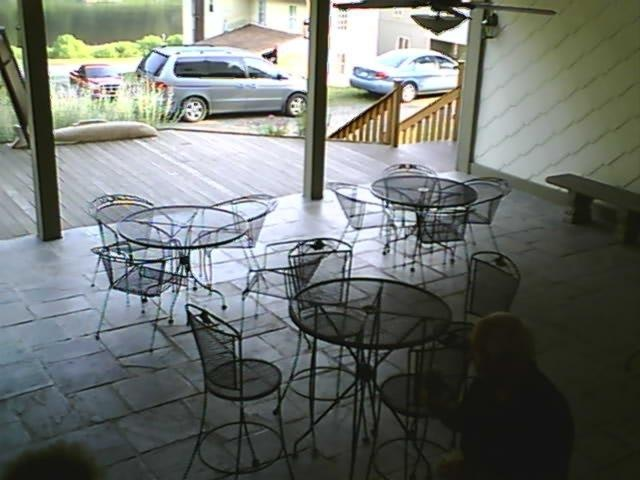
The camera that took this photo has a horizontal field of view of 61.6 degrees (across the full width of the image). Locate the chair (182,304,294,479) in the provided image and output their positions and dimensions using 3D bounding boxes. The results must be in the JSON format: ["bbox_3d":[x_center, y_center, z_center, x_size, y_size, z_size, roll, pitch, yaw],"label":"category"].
[{"bbox_3d":[-0.587,0.954,3.593,0.722,1.096,0.842,-3,28,-10],"label":"chair"}]

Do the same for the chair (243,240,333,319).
[{"bbox_3d":[-0.314,0.391,5.069,0.523,0.617,0.490,15,45,6],"label":"chair"}]

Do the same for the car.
[{"bbox_3d":[2.813,-4.505,14.958,3.748,0.919,1.574,-13,27,-22],"label":"car"}]

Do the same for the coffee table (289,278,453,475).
[{"bbox_3d":[0.365,1.005,3.832,0.993,0.901,0.881,-18,40,-30],"label":"coffee table"}]

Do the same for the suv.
[{"bbox_3d":[-2.260,-3.674,12.688,4.293,1.315,1.839,-6,26,-19],"label":"suv"}]

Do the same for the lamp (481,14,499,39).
[{"bbox_3d":[2.777,-3.429,8.630,0.290,0.385,0.132,6,29,6],"label":"lamp"}]

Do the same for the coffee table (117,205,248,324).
[{"bbox_3d":[-1.541,0.274,5.673,1.368,0.860,1.301,23,33,27],"label":"coffee table"}]

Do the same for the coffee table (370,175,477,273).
[{"bbox_3d":[1.067,-0.208,6.554,1.363,0.833,1.169,11,34,12],"label":"coffee table"}]

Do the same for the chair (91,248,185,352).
[{"bbox_3d":[-1.740,0.599,5.076,0.710,0.739,0.644,20,30,22],"label":"chair"}]
